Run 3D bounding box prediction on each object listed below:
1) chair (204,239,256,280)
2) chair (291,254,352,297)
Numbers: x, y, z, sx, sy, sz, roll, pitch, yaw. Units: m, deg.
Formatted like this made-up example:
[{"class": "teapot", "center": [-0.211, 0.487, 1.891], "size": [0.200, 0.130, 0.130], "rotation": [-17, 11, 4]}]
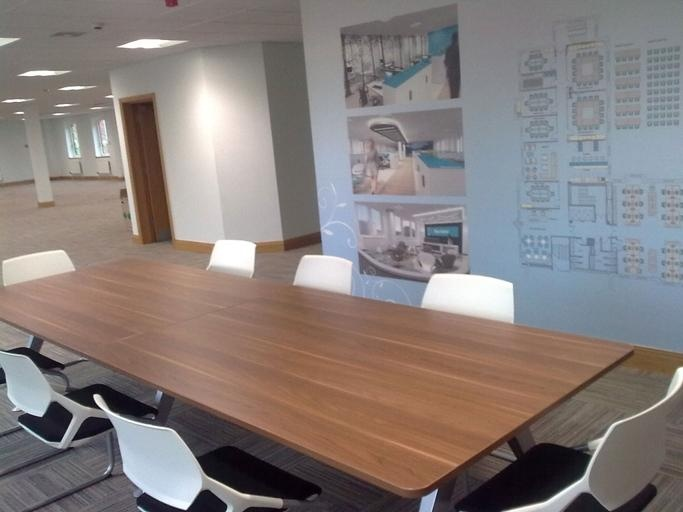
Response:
[{"class": "chair", "center": [-1.042, 0.000, 4.332], "size": [0.389, 0.569, 0.414], "rotation": [7, 14, 14]}, {"class": "chair", "center": [-0.126, 0.098, 3.565], "size": [0.327, 0.478, 0.361], "rotation": [7, 11, 20]}]
